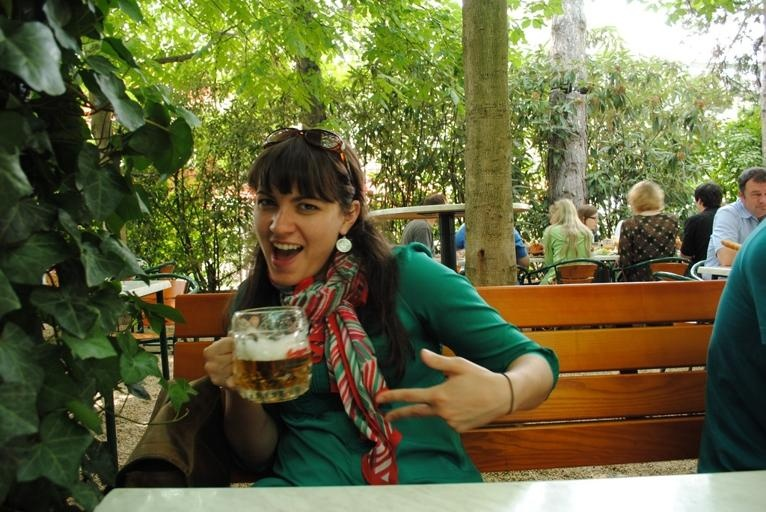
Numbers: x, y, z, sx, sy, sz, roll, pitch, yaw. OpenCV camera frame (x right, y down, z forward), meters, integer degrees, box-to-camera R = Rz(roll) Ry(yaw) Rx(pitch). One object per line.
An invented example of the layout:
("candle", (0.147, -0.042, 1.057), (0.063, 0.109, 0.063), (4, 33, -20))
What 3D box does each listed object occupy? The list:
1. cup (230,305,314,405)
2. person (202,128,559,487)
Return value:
("cup", (-0.255, 0.258, 1.525), (0.241, 0.234, 0.231), (-4, -8, -1))
("person", (-0.022, 0.128, 1.821), (0.631, 1.136, 0.913), (14, -19, -43))
